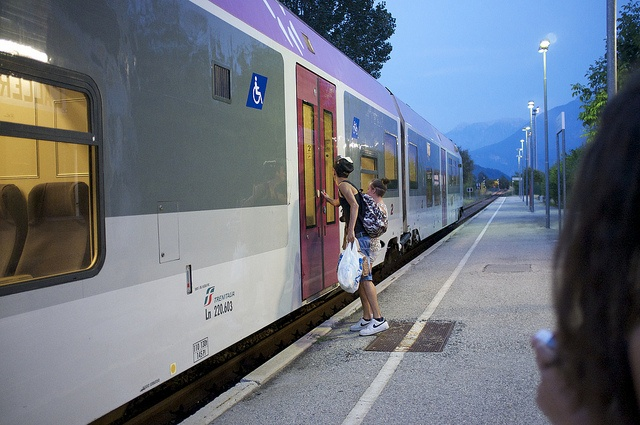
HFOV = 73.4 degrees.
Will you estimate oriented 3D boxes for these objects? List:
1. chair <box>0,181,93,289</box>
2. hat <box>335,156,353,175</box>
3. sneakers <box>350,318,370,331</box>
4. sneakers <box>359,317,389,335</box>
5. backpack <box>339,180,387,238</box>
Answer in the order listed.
[{"bbox_3d":[-1.839,0.146,3.176,0.370,0.747,0.616,-2,-3,1],"label":"chair"},{"bbox_3d":[0.344,-0.680,6.258,0.200,0.278,0.266,0,1,-40],"label":"hat"},{"bbox_3d":[0.600,1.695,6.478,0.336,0.172,0.136,-3,-2,18],"label":"sneakers"},{"bbox_3d":[0.806,1.687,6.394,0.484,0.243,0.182,-1,-4,-26],"label":"sneakers"},{"bbox_3d":[0.626,-0.032,6.384,0.365,0.529,0.689,-16,-41,42],"label":"backpack"}]
